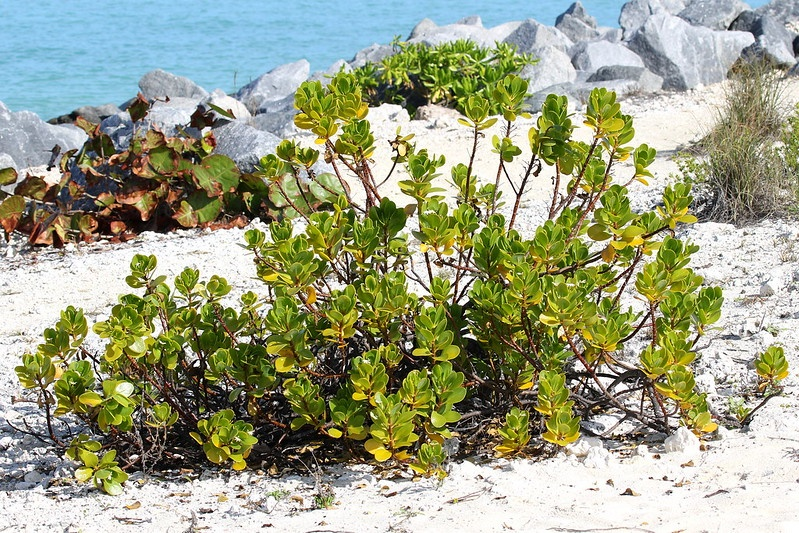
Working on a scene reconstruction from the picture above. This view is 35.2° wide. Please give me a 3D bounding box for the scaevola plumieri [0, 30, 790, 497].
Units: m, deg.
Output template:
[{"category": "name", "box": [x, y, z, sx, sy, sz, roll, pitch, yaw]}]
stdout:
[{"category": "scaevola plumieri", "box": [-0.182, -0.210, 9.983, 5.488, 2.801, 3.066, -5, 18, -7]}]
